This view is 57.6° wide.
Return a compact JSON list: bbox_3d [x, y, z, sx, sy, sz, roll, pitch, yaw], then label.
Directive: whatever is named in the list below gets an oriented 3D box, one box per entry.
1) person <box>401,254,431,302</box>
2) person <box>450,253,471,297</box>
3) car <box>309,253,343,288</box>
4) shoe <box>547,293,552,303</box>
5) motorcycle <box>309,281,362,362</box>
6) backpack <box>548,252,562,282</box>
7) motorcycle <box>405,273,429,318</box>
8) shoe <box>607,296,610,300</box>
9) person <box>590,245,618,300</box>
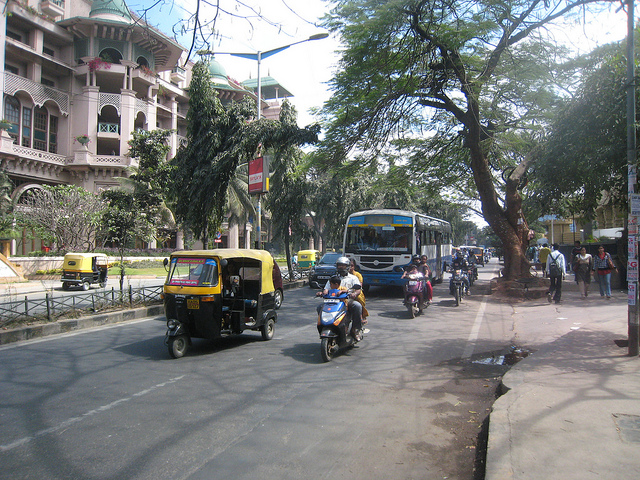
[{"bbox_3d":[2.906,1.055,18.032,0.762,1.012,1.450,-4,-10,16],"label":"person"},{"bbox_3d":[5.304,1.359,21.940,0.855,1.436,2.443,-3,11,20],"label":"person"},{"bbox_3d":[0.152,1.312,25.492,0.889,0.972,1.907,-2,-8,15],"label":"car"},{"bbox_3d":[7.784,1.966,19.751,0.109,0.379,0.147,-5,-1,20],"label":"shoe"},{"bbox_3d":[0.313,1.935,13.264,0.783,1.150,1.649,-1,-13,13],"label":"motorcycle"},{"bbox_3d":[7.910,0.919,19.583,0.407,0.970,0.356,-4,-3,20],"label":"backpack"},{"bbox_3d":[2.867,1.607,17.236,0.408,1.305,0.998,-6,-4,41],"label":"motorcycle"},{"bbox_3d":[10.062,2.008,20.324,0.079,0.051,0.121,0,12,4],"label":"shoe"},{"bbox_3d":[9.813,1.120,20.166,0.541,1.231,1.227,-5,-4,26],"label":"person"}]
